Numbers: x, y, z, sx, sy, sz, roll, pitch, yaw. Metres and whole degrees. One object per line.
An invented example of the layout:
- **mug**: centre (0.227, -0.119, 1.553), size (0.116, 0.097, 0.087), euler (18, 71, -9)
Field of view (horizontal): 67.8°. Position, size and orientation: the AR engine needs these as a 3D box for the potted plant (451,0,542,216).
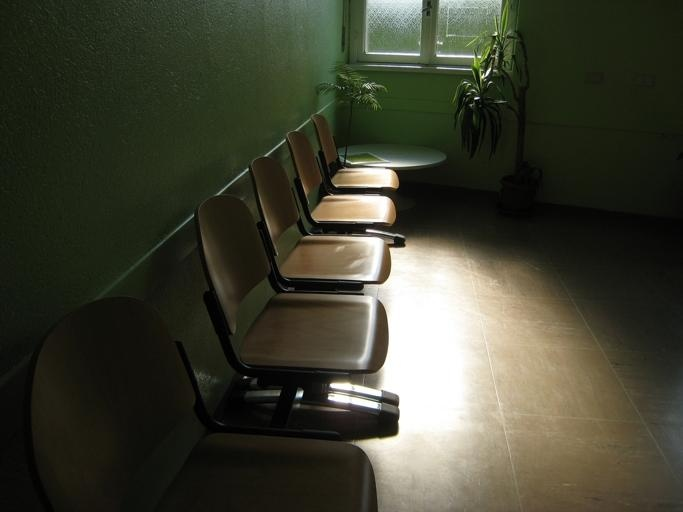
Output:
- **potted plant**: centre (1.413, -1.366, 4.601), size (0.966, 1.728, 0.884), euler (19, 29, 32)
